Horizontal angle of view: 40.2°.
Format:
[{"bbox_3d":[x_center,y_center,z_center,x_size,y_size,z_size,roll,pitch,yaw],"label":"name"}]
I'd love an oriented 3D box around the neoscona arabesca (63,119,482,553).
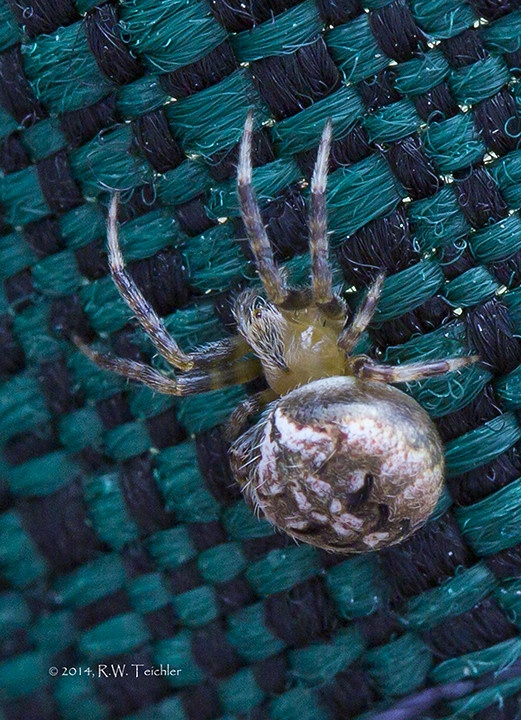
[{"bbox_3d":[0.031,-0.046,0.647,0.306,0.109,0.351,-38,86,23],"label":"neoscona arabesca"}]
